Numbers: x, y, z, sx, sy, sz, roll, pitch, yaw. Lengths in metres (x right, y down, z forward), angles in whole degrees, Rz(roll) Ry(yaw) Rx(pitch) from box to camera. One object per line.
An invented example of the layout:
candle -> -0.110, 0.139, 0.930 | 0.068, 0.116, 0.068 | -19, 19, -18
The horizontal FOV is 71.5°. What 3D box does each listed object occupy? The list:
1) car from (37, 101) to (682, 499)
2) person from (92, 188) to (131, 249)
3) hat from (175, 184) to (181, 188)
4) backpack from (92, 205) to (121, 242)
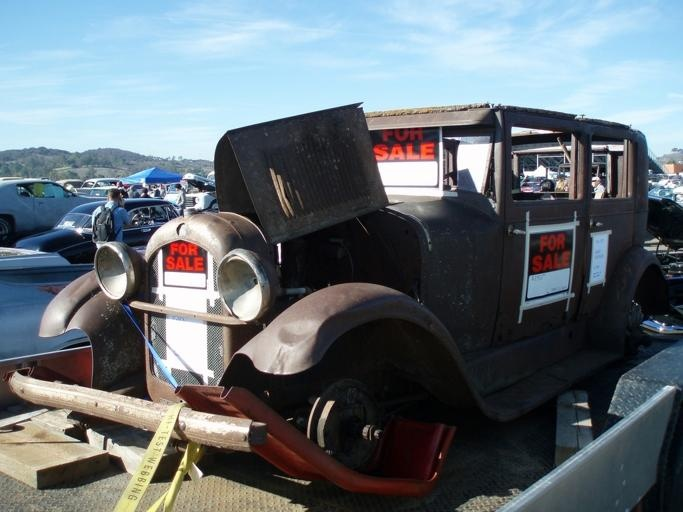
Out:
car -> 0.676, 0.056, 4.003 | 4.524, 1.769, 2.515 | -1, -1, -40
person -> -4.298, -0.775, 8.922 | 0.574, 0.914, 0.984 | 12, 12, -3
hat -> -10.167, -4.358, 29.790 | 0.322, 0.078, 0.327 | 15, 19, 2
backpack -> -4.252, -0.548, 8.699 | 0.465, 0.689, 0.419 | 1, 4, 30
